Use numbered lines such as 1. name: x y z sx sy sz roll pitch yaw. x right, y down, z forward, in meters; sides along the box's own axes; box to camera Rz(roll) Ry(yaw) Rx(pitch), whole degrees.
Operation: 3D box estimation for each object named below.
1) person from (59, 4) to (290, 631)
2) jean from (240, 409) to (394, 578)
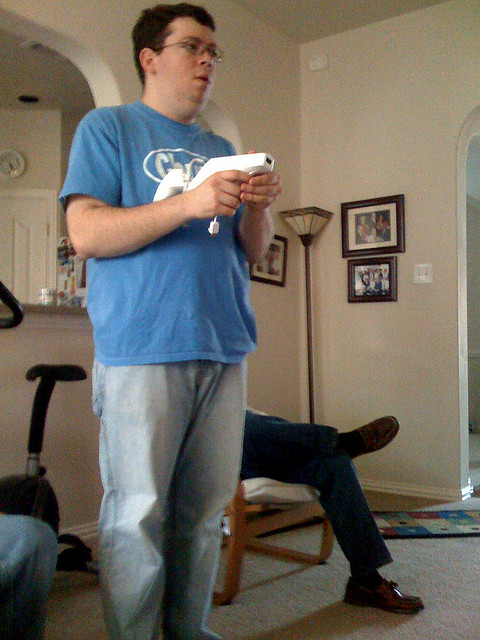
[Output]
1. person: -0.106 -0.036 0.968 0.402 1.176 0.316 2 -5 -18
2. jean: 0.257 0.544 2.013 0.469 0.623 0.506 1 -2 -21
